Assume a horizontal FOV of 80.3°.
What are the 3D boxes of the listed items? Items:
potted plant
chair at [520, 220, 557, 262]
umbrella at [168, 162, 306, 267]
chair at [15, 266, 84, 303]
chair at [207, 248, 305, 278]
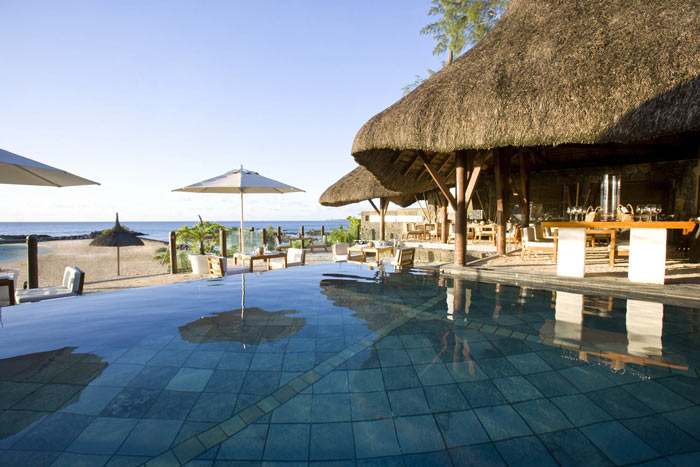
[{"bbox_3d":[-5.239,0.369,16.625,2.911,2.315,2.484,0,-1,-37],"label":"potted plant"},{"bbox_3d":[4.434,0.022,9.856,1.009,0.808,1.548,0,3,33],"label":"chair"},{"bbox_3d":[-3.610,-0.542,12.772,3.721,1.992,3.149,-2,1,-26],"label":"umbrella"},{"bbox_3d":[-5.764,1.016,7.868,1.173,0.487,1.172,4,8,36],"label":"chair"},{"bbox_3d":[-2.491,0.737,10.824,1.953,0.494,0.934,-5,7,-33],"label":"chair"}]
